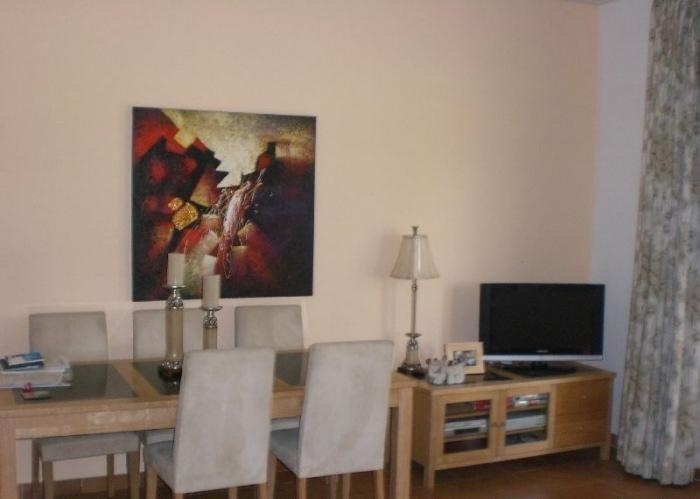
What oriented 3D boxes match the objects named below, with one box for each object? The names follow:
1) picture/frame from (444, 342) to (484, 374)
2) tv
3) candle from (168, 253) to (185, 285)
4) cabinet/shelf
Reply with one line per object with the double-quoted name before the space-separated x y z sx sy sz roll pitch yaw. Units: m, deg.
"picture/frame" 0.860 0.821 4.986 0.252 0.206 0.026 2 -8 -22
"tv" 1.530 0.636 5.270 0.787 0.542 0.274 1 -4 -6
"candle" -1.088 0.116 4.055 0.100 0.205 0.149 -3 0 -16
"cabinet/shelf" 1.452 1.366 5.061 0.529 0.616 1.575 24 -31 -37
